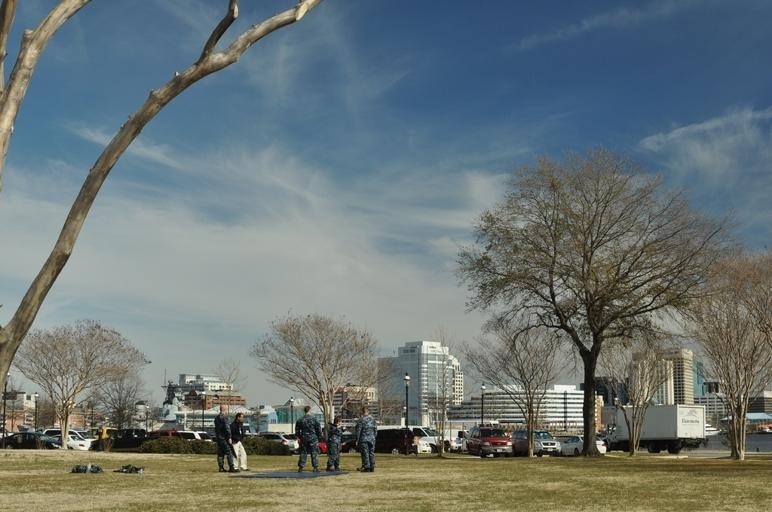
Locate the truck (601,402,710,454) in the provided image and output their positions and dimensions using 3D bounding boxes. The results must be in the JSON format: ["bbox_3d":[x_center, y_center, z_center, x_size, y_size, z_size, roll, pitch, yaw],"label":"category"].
[{"bbox_3d":[18.894,12.079,80.880,6.778,3.689,3.999,-10,-12,44],"label":"truck"}]
